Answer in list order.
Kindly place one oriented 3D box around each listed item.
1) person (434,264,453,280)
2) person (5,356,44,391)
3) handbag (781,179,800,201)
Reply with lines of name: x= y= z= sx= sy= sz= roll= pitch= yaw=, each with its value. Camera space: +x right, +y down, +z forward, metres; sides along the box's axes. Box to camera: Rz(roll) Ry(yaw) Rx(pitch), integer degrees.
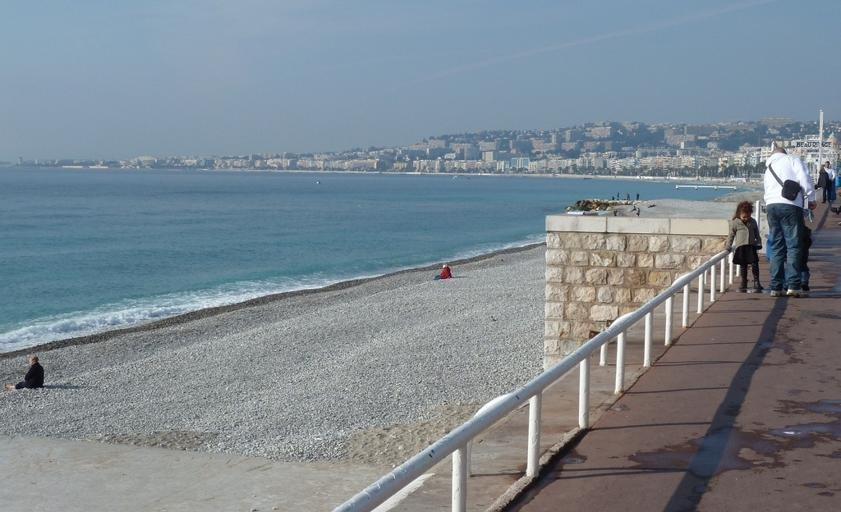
person: x=1.137 y=0.864 z=43.510 sx=0.742 sy=0.342 sz=0.818 roll=2 pitch=8 yaw=5
person: x=-12.152 y=3.533 z=26.549 sx=1.048 sy=0.994 sz=0.567 roll=-3 pitch=7 yaw=3
handbag: x=7.359 y=-1.285 z=17.233 sx=0.417 sy=0.387 sz=0.226 roll=18 pitch=11 yaw=-8
